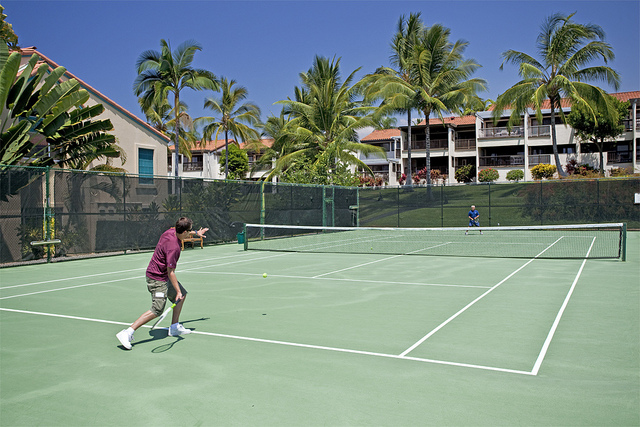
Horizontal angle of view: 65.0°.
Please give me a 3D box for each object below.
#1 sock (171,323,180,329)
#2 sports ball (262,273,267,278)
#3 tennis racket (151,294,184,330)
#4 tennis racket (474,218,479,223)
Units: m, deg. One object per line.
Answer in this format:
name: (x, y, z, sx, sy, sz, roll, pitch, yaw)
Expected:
sock: (-2.644, 2.023, 9.076, 0.132, 0.111, 0.064, -3, 6, -23)
sports ball: (-1.653, 1.811, 14.715, 0.078, 0.081, 0.097, 23, -27, 6)
tennis racket: (-2.822, 1.809, 9.173, 0.992, 0.107, 0.181, -44, -36, 17)
tennis racket: (9.490, 0.422, 30.591, 0.188, 0.307, 0.356, -4, 4, 31)
